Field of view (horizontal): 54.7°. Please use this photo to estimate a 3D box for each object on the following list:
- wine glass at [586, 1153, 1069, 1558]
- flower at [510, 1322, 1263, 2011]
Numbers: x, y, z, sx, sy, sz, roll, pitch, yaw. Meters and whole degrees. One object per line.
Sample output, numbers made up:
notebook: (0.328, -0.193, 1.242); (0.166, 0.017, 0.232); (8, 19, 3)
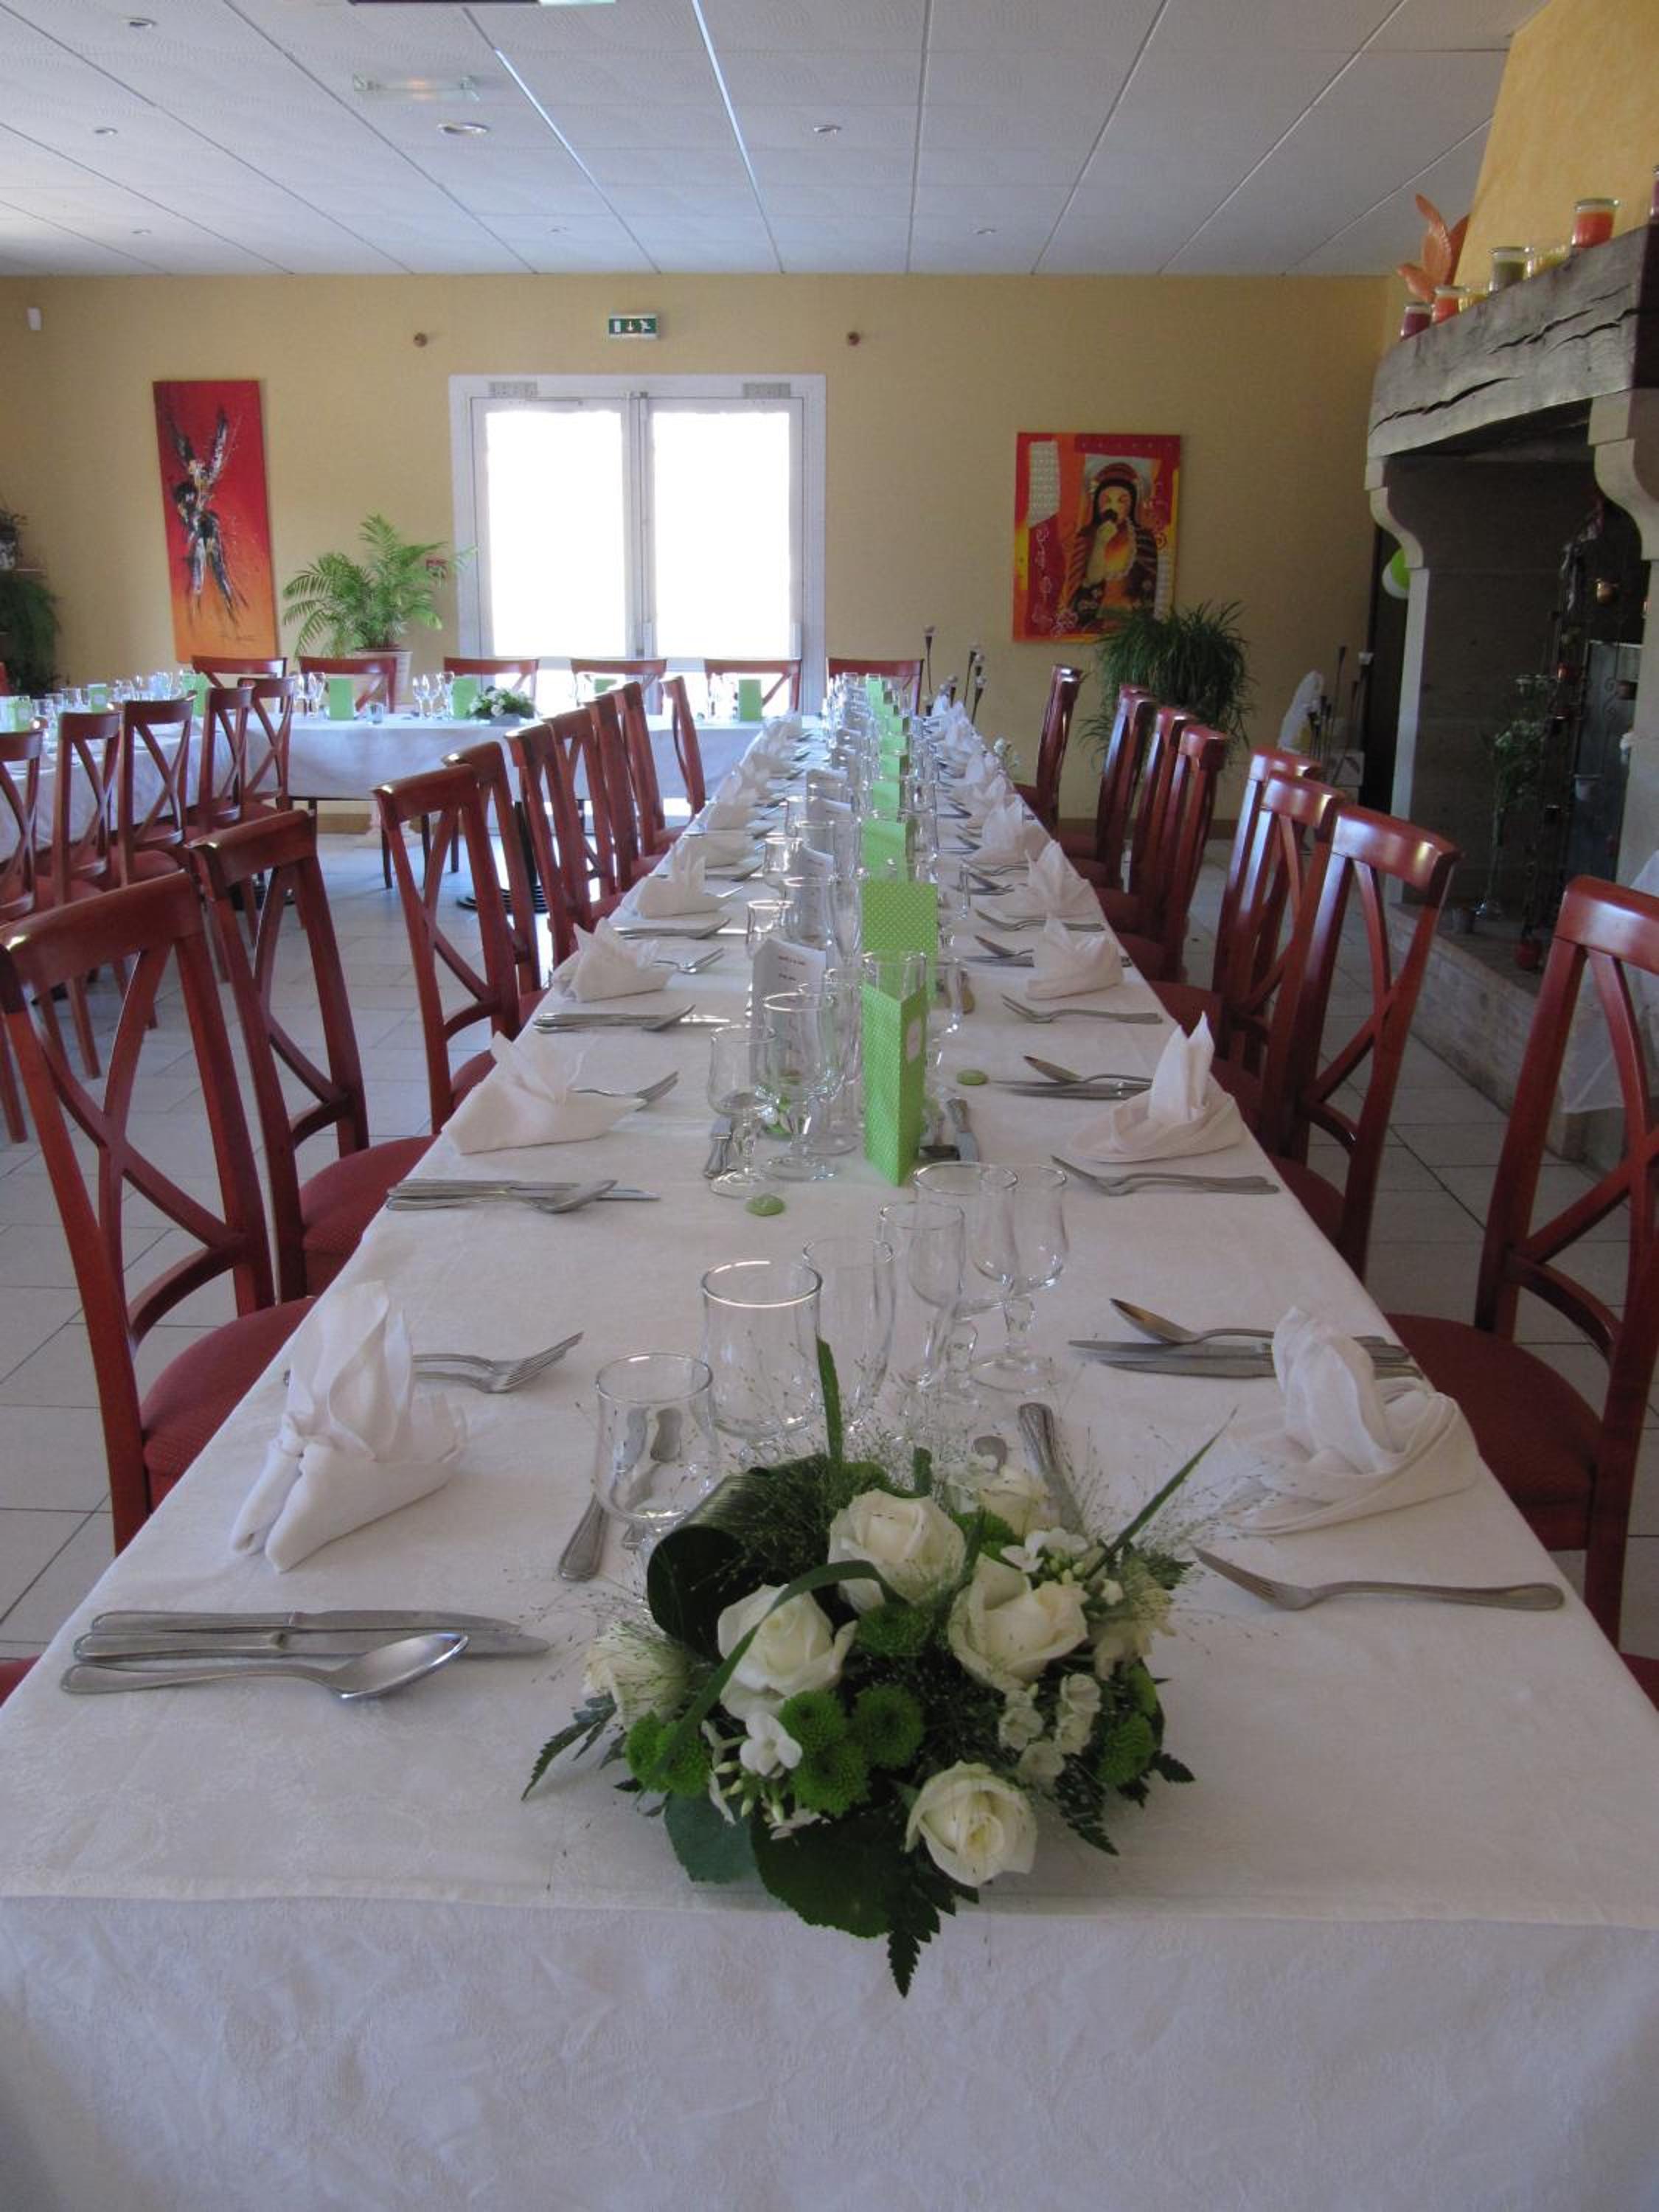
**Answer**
wine glass: (0.041, 0.138, 1.032); (0.197, 0.097, 0.265); (8, 30, 22)
flower: (0.014, 0.226, 0.650); (0.271, 0.138, 0.262); (22, 18, 29)
